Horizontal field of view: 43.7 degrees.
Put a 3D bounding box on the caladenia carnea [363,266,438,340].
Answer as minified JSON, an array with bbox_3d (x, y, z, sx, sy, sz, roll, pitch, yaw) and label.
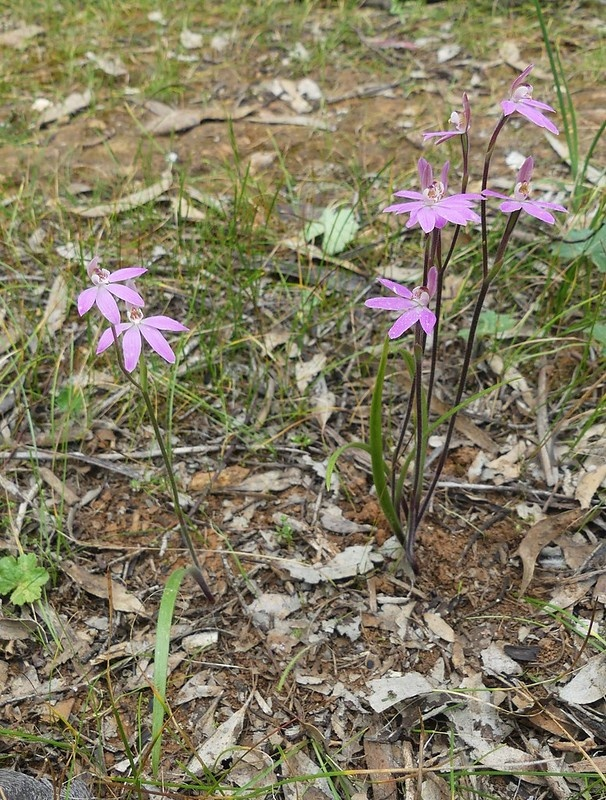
[{"bbox_3d":[0.255,-0.208,1.597,0.134,0.162,0.066,2,59,-50],"label":"caladenia carnea"}]
